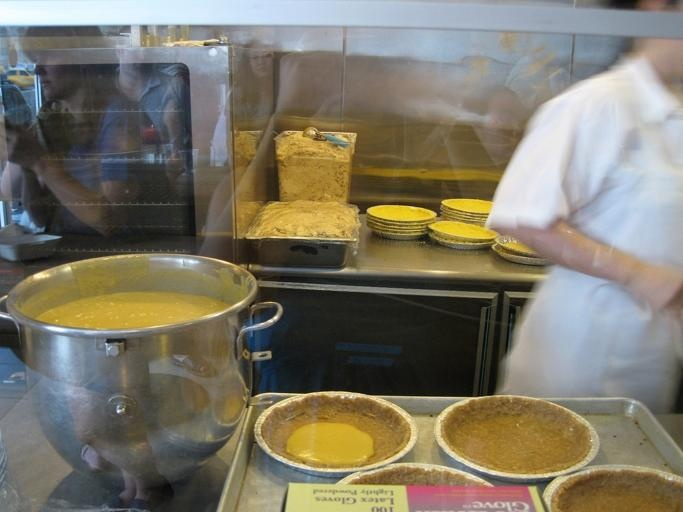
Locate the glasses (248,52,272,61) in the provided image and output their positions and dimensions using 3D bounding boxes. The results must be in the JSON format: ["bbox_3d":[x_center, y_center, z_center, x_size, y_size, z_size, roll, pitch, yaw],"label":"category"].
[{"bbox_3d":[-0.194,-0.476,1.438,0.054,0.013,0.224,-1,18,-7],"label":"glasses"}]

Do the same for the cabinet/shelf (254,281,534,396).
[{"bbox_3d":[0.091,0.190,1.696,0.857,0.265,0.679,2,0,0],"label":"cabinet/shelf"}]

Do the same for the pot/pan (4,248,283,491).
[{"bbox_3d":[-0.294,0.172,0.987,0.459,0.270,0.350,-2,18,-10],"label":"pot/pan"}]
